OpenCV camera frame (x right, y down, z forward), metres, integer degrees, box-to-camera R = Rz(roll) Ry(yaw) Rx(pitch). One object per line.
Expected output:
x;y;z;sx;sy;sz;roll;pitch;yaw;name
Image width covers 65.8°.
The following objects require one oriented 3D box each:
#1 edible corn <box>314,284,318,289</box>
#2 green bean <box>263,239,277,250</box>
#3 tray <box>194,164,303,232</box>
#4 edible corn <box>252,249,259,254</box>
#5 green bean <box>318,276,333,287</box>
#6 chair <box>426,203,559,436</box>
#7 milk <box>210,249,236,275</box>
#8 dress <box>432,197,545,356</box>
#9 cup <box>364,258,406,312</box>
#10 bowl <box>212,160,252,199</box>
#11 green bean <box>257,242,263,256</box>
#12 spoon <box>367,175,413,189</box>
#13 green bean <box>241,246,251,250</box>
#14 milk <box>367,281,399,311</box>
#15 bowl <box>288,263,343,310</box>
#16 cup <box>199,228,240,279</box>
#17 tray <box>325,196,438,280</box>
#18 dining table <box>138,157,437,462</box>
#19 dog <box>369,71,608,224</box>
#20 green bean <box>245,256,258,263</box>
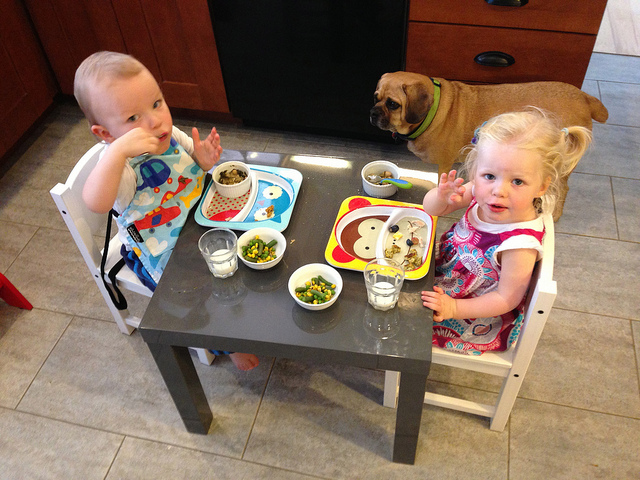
-0.013;0.144;1.546;0.009;0.003;0.009;-17;30;-18;edible corn
-0.164;0.014;1.645;0.055;0.016;0.015;-34;95;-25;green bean
-0.258;-0.163;1.806;0.342;0.053;0.335;7;48;9;tray
-0.212;0.039;1.624;0.016;0.003;0.017;32;56;28;edible corn
0.015;0.130;1.560;0.017;0.018;0.059;-41;54;-20;green bean
0.603;0.296;1.745;0.388;0.756;0.433;17;66;14;chair
-0.311;0.078;1.628;0.075;0.058;0.070;28;53;22;milk
0.528;0.137;1.807;0.473;0.595;0.515;2;64;12;dress
0.200;0.127;1.535;0.139;0.129;0.153;-1;45;1;cup
-0.331;-0.217;1.850;0.142;0.065;0.142;-1;63;1;bowl
-0.198;0.030;1.624;0.012;0.011;0.043;-8;57;26;green bean
0.259;-0.212;1.805;0.185;0.031;0.060;12;39;19;spoon
-0.245;0.025;1.640;0.028;0.006;0.015;-11;48;-7;green bean
0.188;0.170;1.498;0.084;0.064;0.083;-7;65;0;milk
-0.013;0.147;1.551;0.169;0.050;0.156;-2;47;2;bowl
-0.327;0.038;1.658;0.146;0.138;0.161;-7;49;-6;cup
0.212;-0.015;1.674;0.343;0.055;0.317;9;48;11;tray
0.003;0.217;2.143;1.073;0.998;1.019;6;54;7;dining table
0.908;-0.511;2.671;1.232;0.793;0.389;-4;31;4;dog
-0.224;0.064;1.611;0.044;0.014;0.010;12;11;23;green bean
